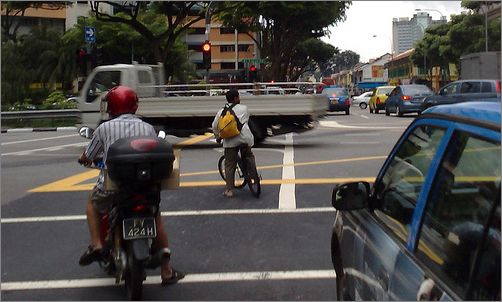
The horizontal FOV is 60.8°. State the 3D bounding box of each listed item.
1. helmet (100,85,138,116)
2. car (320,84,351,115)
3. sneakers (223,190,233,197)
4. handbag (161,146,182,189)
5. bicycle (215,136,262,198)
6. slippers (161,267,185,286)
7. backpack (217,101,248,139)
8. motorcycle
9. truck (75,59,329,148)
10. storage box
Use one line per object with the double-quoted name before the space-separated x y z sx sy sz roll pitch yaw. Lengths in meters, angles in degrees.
"helmet" -1.455 -0.531 4.816 0.330 0.431 0.392 -3 -1 -22
"car" 6.939 -4.092 35.136 2.087 2.195 4.878 -1 10 -1
"sneakers" -0.466 0.863 8.718 0.165 0.136 0.096 5 2 5
"handbag" -0.807 0.199 4.571 0.295 0.350 0.335 1 3 -2
"bicycle" -0.260 0.381 8.966 0.591 0.843 1.273 -7 15 -20
"slippers" -0.885 1.450 4.889 0.116 0.143 0.267 8 14 37
"backpack" -0.411 -0.577 8.495 0.431 0.800 0.549 11 -25 -29
"motorcycle" -1.188 0.707 4.460 0.674 1.755 0.879 -8 11 -36
"truck" -1.490 -1.822 16.860 9.928 4.204 4.007 1 4 5
"storage box" -1.152 0.194 4.651 0.634 0.471 0.689 8 -4 -20
